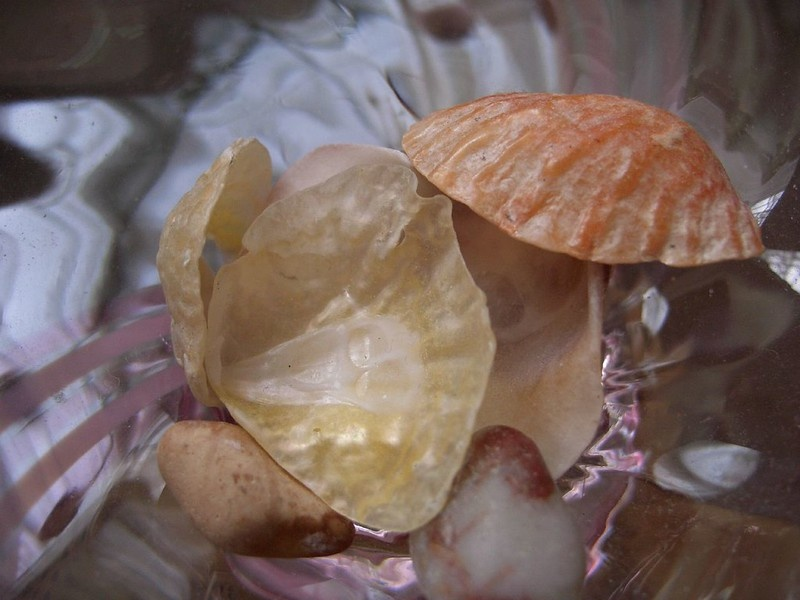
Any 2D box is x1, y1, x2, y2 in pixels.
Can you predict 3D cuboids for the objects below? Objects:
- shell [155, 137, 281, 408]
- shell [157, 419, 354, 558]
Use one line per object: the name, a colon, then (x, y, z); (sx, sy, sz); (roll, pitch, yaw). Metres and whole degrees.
shell: (-0.118, -0.025, 0.836); (0.073, 0.175, 0.226); (2, 104, 18)
shell: (-0.136, 0.179, 0.808); (0.189, 0.047, 0.089); (40, 84, 6)
